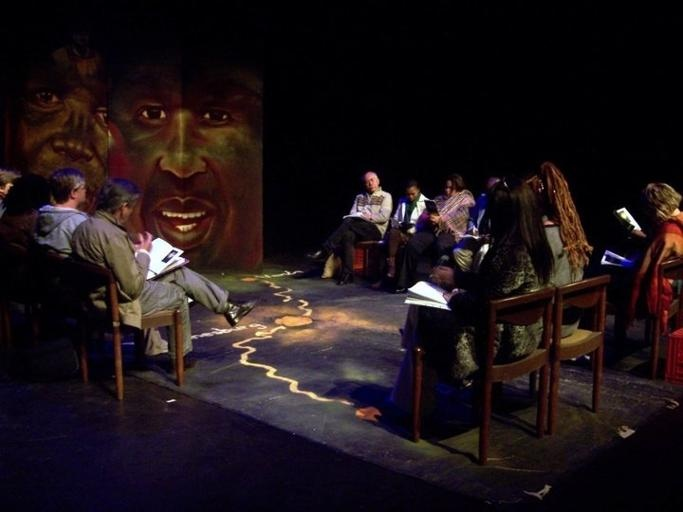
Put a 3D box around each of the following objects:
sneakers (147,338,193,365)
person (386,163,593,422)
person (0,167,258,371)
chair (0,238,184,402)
[{"bbox_3d":[-1.460,0.747,4.647,0.259,0.145,0.344,1,-7,27],"label":"sneakers"},{"bbox_3d":[0.962,0.259,3.468,1.134,1.628,0.658,-4,12,-20],"label":"person"},{"bbox_3d":[-1.444,0.166,4.435,0.796,1.728,1.555,6,15,37],"label":"person"},{"bbox_3d":[-1.838,0.464,4.139,1.019,0.669,0.384,11,16,44],"label":"chair"}]
